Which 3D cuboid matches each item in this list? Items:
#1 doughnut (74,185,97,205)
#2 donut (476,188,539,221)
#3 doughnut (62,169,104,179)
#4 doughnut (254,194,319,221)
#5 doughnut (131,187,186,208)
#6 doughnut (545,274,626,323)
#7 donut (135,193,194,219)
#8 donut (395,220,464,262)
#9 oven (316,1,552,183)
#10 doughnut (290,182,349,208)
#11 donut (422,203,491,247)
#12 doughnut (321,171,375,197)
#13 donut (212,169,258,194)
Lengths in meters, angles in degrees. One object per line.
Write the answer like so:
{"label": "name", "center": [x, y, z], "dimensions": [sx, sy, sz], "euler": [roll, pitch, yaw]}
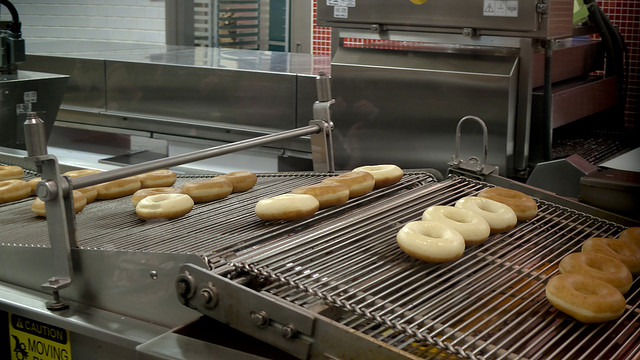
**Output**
{"label": "doughnut", "center": [-1.033, 0.065, 1.939], "dimensions": [0.106, 0.072, 0.095], "euler": [-2, 9, 17]}
{"label": "donut", "center": [0.817, 0.105, 1.945], "dimensions": [0.252, 0.075, 0.247], "euler": [15, 21, 32]}
{"label": "doughnut", "center": [-1.157, -0.035, 2.165], "dimensions": [0.157, 0.038, 0.135], "euler": [-1, 2, -1]}
{"label": "doughnut", "center": [-0.131, 0.121, 1.873], "dimensions": [0.282, 0.081, 0.262], "euler": [-5, 4, 22]}
{"label": "doughnut", "center": [-0.744, 0.066, 1.985], "dimensions": [0.141, 0.036, 0.138], "euler": [3, 5, 36]}
{"label": "doughnut", "center": [0.880, 0.383, 1.469], "dimensions": [0.253, 0.074, 0.221], "euler": [5, 20, 7]}
{"label": "donut", "center": [-0.654, 0.093, 1.852], "dimensions": [0.156, 0.040, 0.142], "euler": [-5, 7, -29]}
{"label": "donut", "center": [0.404, 0.230, 1.611], "dimensions": [0.198, 0.102, 0.186], "euler": [16, 27, 38]}
{"label": "oven", "center": [0.690, -0.502, 2.488], "dimensions": [1.251, 0.862, 0.582], "euler": [6, 18, 25]}
{"label": "doughnut", "center": [0.028, 0.048, 1.901], "dimensions": [0.154, 0.044, 0.151], "euler": [2, 8, 37]}
{"label": "donut", "center": [0.541, 0.157, 1.713], "dimensions": [0.219, 0.055, 0.187], "euler": [0, 12, -3]}
{"label": "doughnut", "center": [0.128, 0.015, 2.086], "dimensions": [0.254, 0.075, 0.251], "euler": [-18, 18, -42]}
{"label": "donut", "center": [-0.427, 0.008, 2.174], "dimensions": [0.252, 0.074, 0.219], "euler": [-7, 14, 10]}
